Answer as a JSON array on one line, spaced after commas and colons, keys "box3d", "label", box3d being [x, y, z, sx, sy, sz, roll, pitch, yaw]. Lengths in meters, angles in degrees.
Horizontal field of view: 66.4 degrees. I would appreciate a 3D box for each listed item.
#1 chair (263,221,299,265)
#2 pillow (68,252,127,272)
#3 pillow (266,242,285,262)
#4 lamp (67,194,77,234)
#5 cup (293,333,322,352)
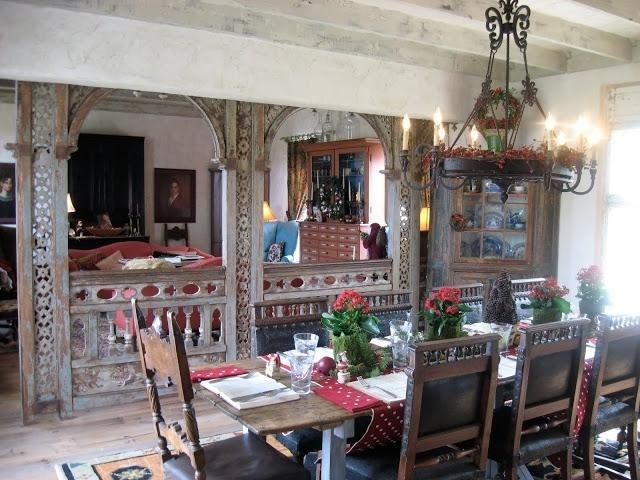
[{"box3d": [-0.801, 0.006, 9.519, 0.658, 0.869, 0.745, 2, -1, 19], "label": "chair"}, {"box3d": [-2.567, 0.266, 5.633, 0.303, 0.124, 0.367, 7, 7, -8], "label": "pillow"}, {"box3d": [-0.846, 0.249, 9.277, 0.306, 0.406, 0.169, 0, -21, 24], "label": "pillow"}, {"box3d": [-4.313, -0.441, 8.517, 0.123, 0.739, 0.519, -3, 7, -27], "label": "lamp"}, {"box3d": [-0.068, 0.521, 2.495, 0.104, 0.081, 0.097, 0, 5, 0], "label": "cup"}]
